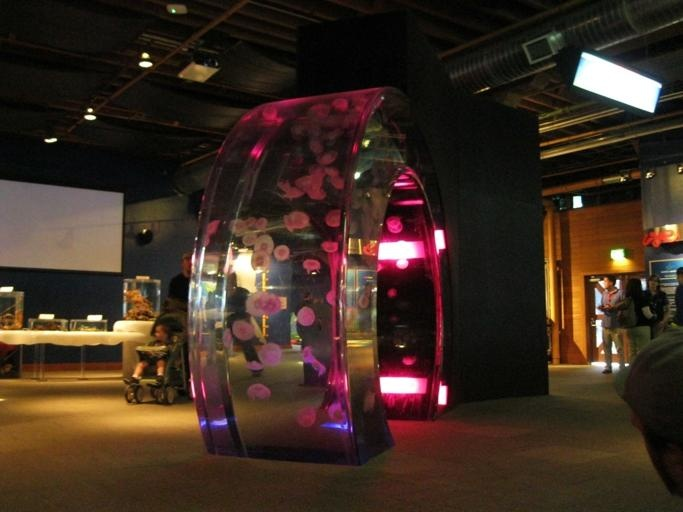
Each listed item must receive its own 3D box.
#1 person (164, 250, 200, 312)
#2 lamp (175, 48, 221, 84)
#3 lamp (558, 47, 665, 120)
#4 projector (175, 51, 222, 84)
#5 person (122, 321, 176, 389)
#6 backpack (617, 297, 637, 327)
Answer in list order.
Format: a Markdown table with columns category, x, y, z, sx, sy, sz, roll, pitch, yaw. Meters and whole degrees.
| category | x | y | z | sx | sy | sz | roll | pitch | yaw |
| --- | --- | --- | --- | --- | --- | --- | --- | --- | --- |
| person | -2.100 | 0.321 | 7.005 | 0.295 | 0.793 | 0.797 | 2 | -7 | -18 |
| lamp | -2.010 | -2.732 | 7.957 | 0.453 | 0.217 | 0.683 | 4 | -8 | -34 |
| lamp | 3.360 | -2.213 | 6.930 | 1.583 | 0.499 | 0.264 | 4 | -8 | -30 |
| projector | -2.092 | -2.695 | 7.951 | 0.326 | 0.134 | 0.451 | 10 | -19 | -38 |
| person | -2.252 | 1.114 | 6.474 | 0.520 | 0.788 | 0.354 | -1 | -8 | 4 |
| backpack | 4.139 | 0.817 | 7.992 | 0.172 | 0.446 | 0.213 | 3 | -8 | -22 |
